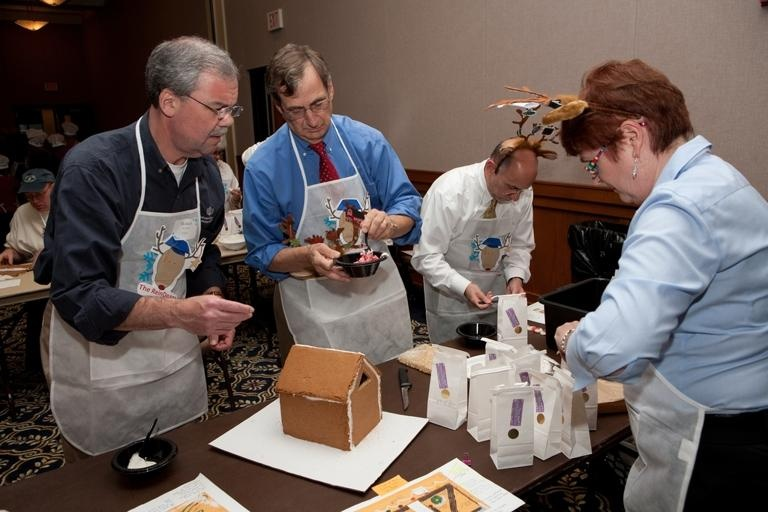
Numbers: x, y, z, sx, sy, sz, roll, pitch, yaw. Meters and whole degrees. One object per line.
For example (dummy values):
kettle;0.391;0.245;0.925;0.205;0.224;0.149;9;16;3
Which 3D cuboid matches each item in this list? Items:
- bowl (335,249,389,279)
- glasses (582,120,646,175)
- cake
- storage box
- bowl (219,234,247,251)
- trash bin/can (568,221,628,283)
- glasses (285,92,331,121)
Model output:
bowl;-0.116;0.021;2.757;0.235;0.119;0.325;2;22;6
glasses;0.794;-0.367;1.862;0.164;0.052;0.160;-13;14;41
cake;-0.205;0.490;2.148;0.347;0.369;0.362;3;7;25
storage box;0.950;0.294;2.642;0.383;0.199;0.283;-23;21;-25
bowl;-1.263;-0.114;4.534;0.240;0.105;0.275;2;13;6
trash bin/can;1.534;-0.083;3.888;0.406;0.540;0.521;1;5;35
glasses;-0.373;-0.709;2.573;0.223;0.115;0.082;-3;21;-8
